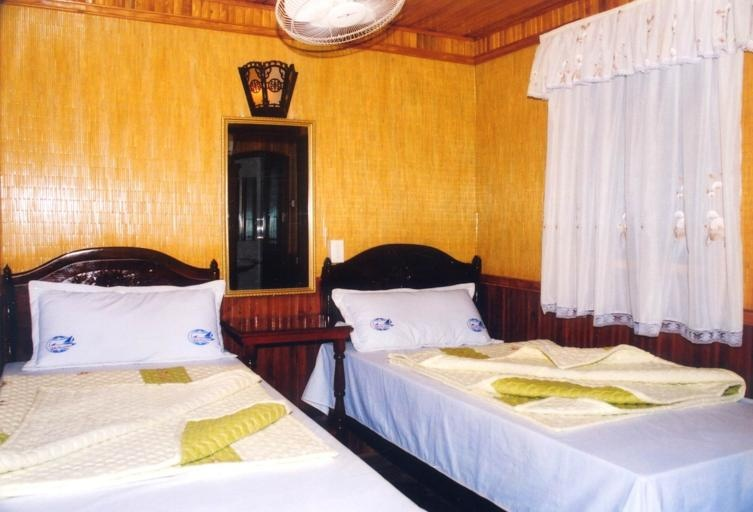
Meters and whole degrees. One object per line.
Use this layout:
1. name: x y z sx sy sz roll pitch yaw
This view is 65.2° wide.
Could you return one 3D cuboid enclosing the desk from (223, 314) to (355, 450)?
1. desk: -0.685 0.829 4.342 0.848 0.820 0.825 0 -1 -24
